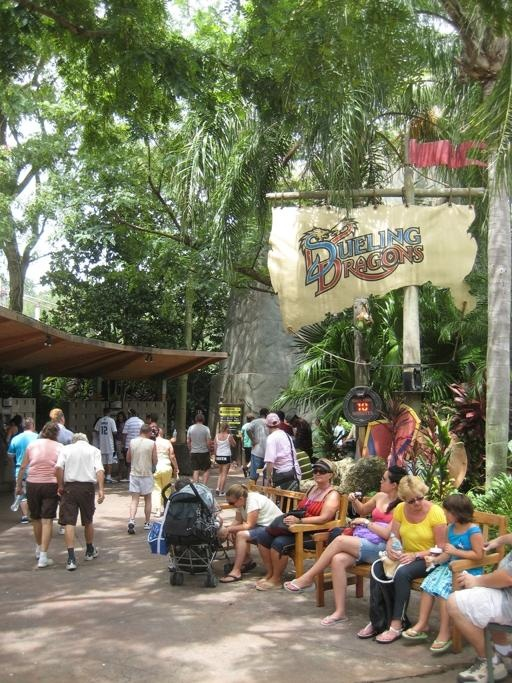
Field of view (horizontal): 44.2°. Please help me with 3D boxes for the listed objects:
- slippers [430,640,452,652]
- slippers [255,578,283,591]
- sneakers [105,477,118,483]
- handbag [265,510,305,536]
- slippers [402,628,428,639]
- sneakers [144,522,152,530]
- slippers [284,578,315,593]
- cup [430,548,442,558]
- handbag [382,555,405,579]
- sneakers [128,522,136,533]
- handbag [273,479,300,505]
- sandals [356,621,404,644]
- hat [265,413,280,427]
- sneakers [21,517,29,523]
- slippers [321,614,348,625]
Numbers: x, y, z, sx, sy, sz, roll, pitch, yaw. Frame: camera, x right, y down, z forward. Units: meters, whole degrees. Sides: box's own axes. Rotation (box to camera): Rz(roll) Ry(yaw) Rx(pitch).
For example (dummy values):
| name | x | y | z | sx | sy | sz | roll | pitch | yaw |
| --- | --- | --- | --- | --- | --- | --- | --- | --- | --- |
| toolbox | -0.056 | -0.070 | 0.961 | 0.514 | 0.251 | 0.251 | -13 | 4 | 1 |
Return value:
| name | x | y | z | sx | sy | sz | roll | pitch | yaw |
| --- | --- | --- | --- | --- | --- | --- | --- | --- | --- |
| slippers | 1.213 | 1.979 | 4.127 | 0.184 | 0.045 | 0.067 | 10 | -18 | -39 |
| slippers | 0.107 | 2.265 | 5.885 | 0.191 | 0.060 | 0.094 | 8 | -10 | -9 |
| sneakers | -3.429 | 3.345 | 15.211 | 0.358 | 0.134 | 0.114 | 2 | -2 | 0 |
| handbag | 0.273 | 1.705 | 5.949 | 0.275 | 0.098 | 0.262 | -27 | -3 | -1 |
| slippers | 1.090 | 2.006 | 4.322 | 0.146 | 0.042 | 0.076 | 5 | -10 | -10 |
| sneakers | -1.523 | 2.613 | 8.935 | 0.052 | 0.058 | 0.146 | 2 | 3 | 0 |
| slippers | 0.385 | 2.236 | 5.795 | 0.222 | 0.071 | 0.116 | 5 | -8 | -1 |
| cup | 1.249 | 1.474 | 4.408 | 0.063 | 0.061 | 0.064 | 3 | -17 | 1 |
| handbag | 0.979 | 1.636 | 4.567 | 0.126 | 0.112 | 0.049 | 14 | -13 | -25 |
| sneakers | -1.720 | 2.581 | 8.751 | 0.083 | 0.217 | 0.104 | -2 | -3 | 15 |
| handbag | 0.397 | 1.979 | 8.384 | 0.253 | 0.305 | 0.291 | 1 | 4 | 8 |
| sandals | 0.857 | 2.018 | 4.387 | 0.314 | 0.112 | 0.195 | -2 | -8 | 8 |
| hat | 0.219 | 1.054 | 8.659 | 0.242 | 0.151 | 0.368 | -9 | -16 | -2 |
| sneakers | -3.554 | 2.755 | 9.716 | 0.066 | 0.063 | 0.159 | 4 | -3 | -17 |
| slippers | 0.591 | 2.103 | 4.760 | 0.177 | 0.041 | 0.066 | 9 | -19 | -23 |
